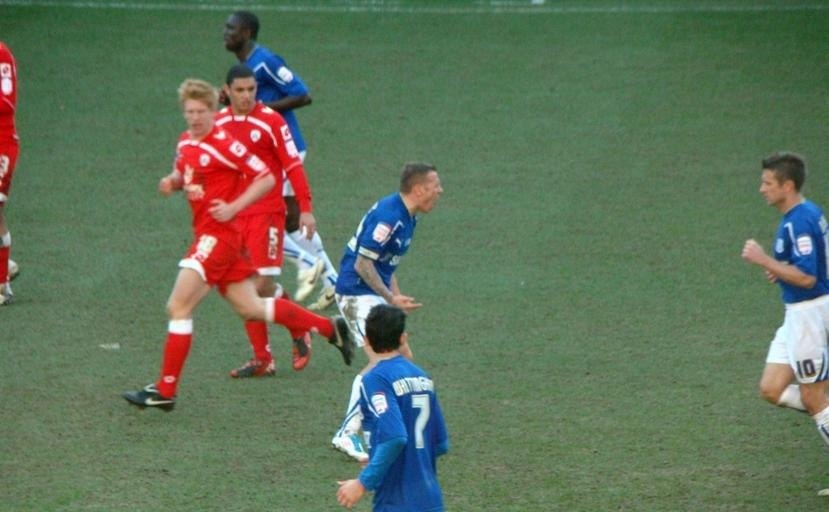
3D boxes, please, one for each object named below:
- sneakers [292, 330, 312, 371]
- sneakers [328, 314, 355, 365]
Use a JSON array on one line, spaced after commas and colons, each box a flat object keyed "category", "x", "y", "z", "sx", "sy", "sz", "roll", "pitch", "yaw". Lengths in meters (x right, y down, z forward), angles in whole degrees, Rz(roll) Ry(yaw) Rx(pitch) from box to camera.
[{"category": "sneakers", "x": -1.286, "y": 1.090, "z": 13.892, "sx": 0.177, "sy": 0.436, "sz": 0.212, "roll": 6, "pitch": -3, "yaw": 20}, {"category": "sneakers", "x": -0.785, "y": 0.952, "z": 13.491, "sx": 0.278, "sy": 0.580, "sz": 0.210, "roll": -18, "pitch": 25, "yaw": 7}]
